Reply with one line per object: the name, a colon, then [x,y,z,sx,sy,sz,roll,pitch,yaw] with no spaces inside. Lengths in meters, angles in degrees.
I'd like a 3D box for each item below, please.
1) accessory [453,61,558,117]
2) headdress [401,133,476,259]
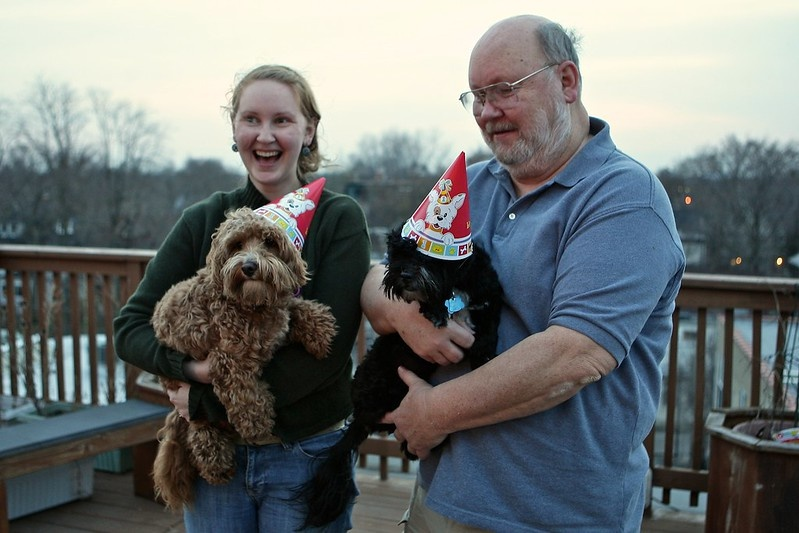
accessory: [0.721,-1.314,7.206,0.465,0.151,0.433,-39,14,-31]
headdress: [0.336,-0.499,7.243,0.590,0.493,0.754,14,-44,-3]
